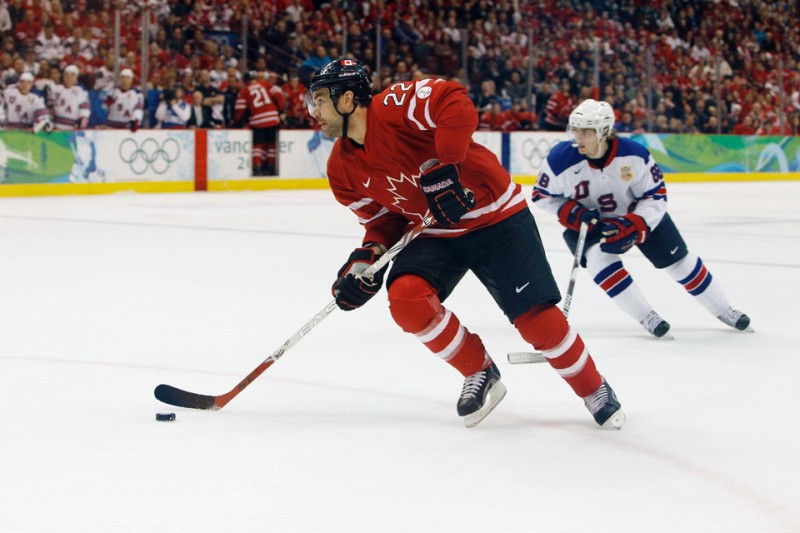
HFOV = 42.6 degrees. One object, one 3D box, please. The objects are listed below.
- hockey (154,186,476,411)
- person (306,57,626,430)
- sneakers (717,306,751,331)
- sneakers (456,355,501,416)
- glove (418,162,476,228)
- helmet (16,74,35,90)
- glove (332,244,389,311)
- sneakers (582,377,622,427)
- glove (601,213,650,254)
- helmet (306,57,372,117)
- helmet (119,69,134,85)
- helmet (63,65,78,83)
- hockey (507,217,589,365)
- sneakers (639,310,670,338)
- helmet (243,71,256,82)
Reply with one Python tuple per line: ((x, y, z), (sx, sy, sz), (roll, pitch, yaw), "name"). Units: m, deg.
((-0.485, 0.208, 5.716), (2.118, 0.282, 0.315), (-31, -27, -13), "hockey")
((0.219, -0.076, 4.685), (1.116, 2.010, 0.968), (-17, -10, 0), "person")
((1.918, 0.290, 5.900), (0.086, 0.101, 0.238), (-30, 14, -11), "sneakers")
((0.361, 0.545, 4.661), (0.109, 0.184, 0.332), (8, 36, 36), "sneakers")
((0.237, -0.290, 4.517), (0.127, 0.276, 0.354), (22, -37, -17), "glove")
((-4.232, -2.081, 11.637), (0.169, 0.207, 0.117), (-5, 13, -24), "helmet")
((-0.183, 0.050, 4.711), (0.298, 0.138, 0.219), (-37, 4, 25), "glove")
((0.920, 0.633, 4.670), (0.129, 0.160, 0.360), (-39, -3, 5), "sneakers")
((1.232, -0.173, 5.621), (0.244, 0.112, 0.207), (-2, -11, -14), "glove")
((-0.243, -0.792, 4.653), (0.310, 0.305, 0.241), (-4, 8, -2), "helmet")
((-3.221, -2.262, 12.183), (0.164, 0.163, 0.120), (-4, 12, -20), "helmet")
((-3.795, -2.222, 11.907), (0.159, 0.214, 0.201), (11, 13, 32), "helmet")
((0.823, 0.139, 5.489), (0.474, 0.742, 0.202), (0, -2, 18), "hockey")
((1.419, 0.324, 5.786), (0.077, 0.103, 0.177), (32, 13, -48), "sneakers")
((-1.932, -2.440, 13.251), (0.168, 0.137, 0.178), (-3, 12, -18), "helmet")
